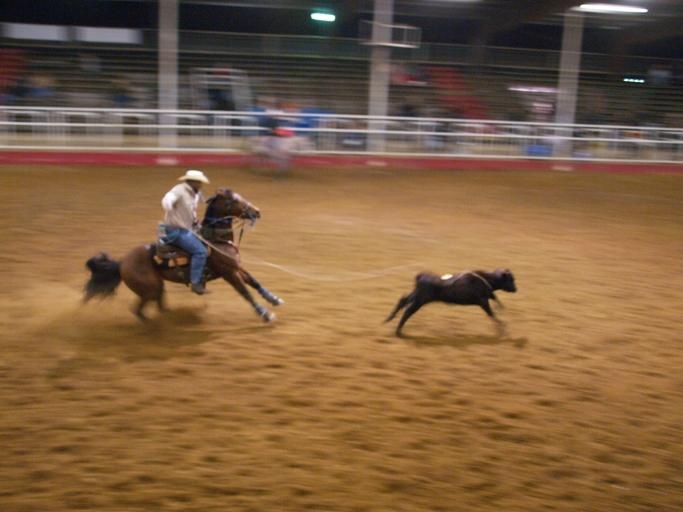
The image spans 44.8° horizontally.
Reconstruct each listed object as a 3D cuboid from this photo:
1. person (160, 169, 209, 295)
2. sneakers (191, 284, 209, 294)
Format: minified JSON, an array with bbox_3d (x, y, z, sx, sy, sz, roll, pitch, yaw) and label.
[{"bbox_3d":[-2.332,-0.322,12.242,0.703,1.850,0.400,1,12,-9],"label":"person"},{"bbox_3d":[-2.125,0.479,12.318,0.283,0.166,0.128,-2,27,-15],"label":"sneakers"}]
